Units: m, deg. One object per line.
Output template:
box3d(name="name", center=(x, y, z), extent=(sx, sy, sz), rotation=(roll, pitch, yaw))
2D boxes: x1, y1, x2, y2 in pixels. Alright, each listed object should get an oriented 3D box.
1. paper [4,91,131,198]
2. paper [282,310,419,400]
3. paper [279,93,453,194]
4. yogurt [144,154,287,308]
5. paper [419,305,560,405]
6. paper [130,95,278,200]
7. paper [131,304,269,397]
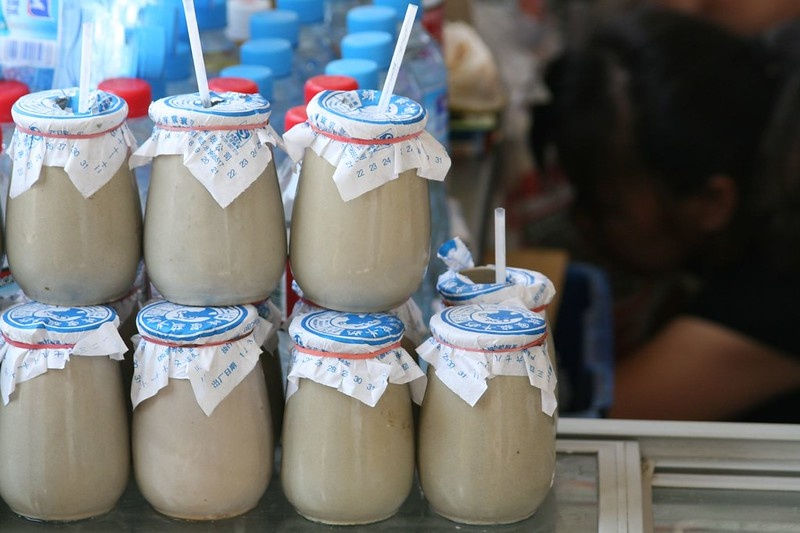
box3d(name="paper", center=(-0.476, -0.176, 1.332), extent=(0.165, 0.111, 0.161), rotation=(-2, 21, -2))
box3d(name="paper", center=(-0.068, 0.132, 1.275), extent=(0.145, 0.129, 0.133), rotation=(-3, 12, -17))
box3d(name="paper", center=(-0.050, -0.182, 1.320), extent=(0.217, 0.168, 0.133), rotation=(8, 9, 28))
box3d(name="yogurt", center=(-0.287, -0.072, 1.397), extent=(0.213, 0.204, 0.211), rotation=(-5, 13, -20))
box3d(name="paper", center=(0.123, 0.110, 1.274), extent=(0.155, 0.140, 0.153), rotation=(3, 10, 16))
box3d(name="paper", center=(-0.270, -0.178, 1.331), extent=(0.170, 0.099, 0.169), rotation=(9, 28, 12))
box3d(name="paper", center=(-0.303, 0.113, 1.345), extent=(0.152, 0.145, 0.140), rotation=(-1, 9, -2))
